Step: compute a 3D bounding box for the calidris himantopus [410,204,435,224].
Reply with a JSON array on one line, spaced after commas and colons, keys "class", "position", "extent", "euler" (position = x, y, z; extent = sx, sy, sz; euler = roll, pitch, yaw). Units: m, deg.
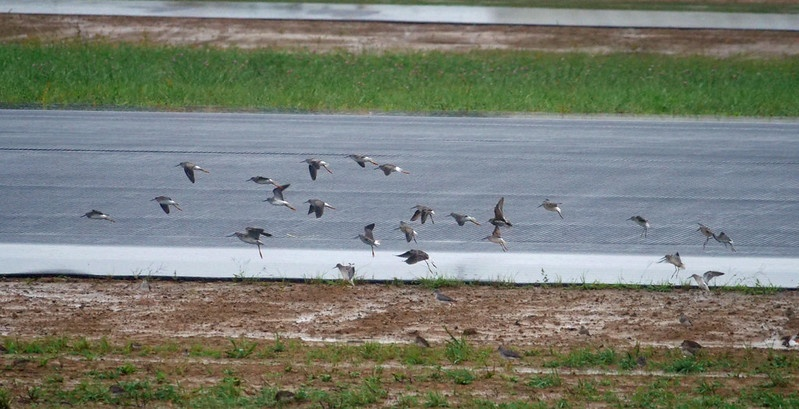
[{"class": "calidris himantopus", "position": [0.882, 0.406, 49.236], "extent": [0.826, 0.313, 0.704], "euler": [-16, 6, -8]}]

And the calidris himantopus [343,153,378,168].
[{"class": "calidris himantopus", "position": [-1.305, -1.580, 51.700], "extent": [0.928, 0.279, 0.643], "euler": [-3, -4, 4]}]

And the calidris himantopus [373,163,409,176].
[{"class": "calidris himantopus", "position": [-0.393, -1.214, 51.049], "extent": [0.821, 0.243, 0.589], "euler": [-10, -3, 21]}]

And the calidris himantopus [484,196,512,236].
[{"class": "calidris himantopus", "position": [3.477, 0.512, 48.997], "extent": [1.194, 0.627, 1.243], "euler": [3, 54, -10]}]

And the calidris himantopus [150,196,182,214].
[{"class": "calidris himantopus", "position": [-8.013, 0.015, 49.439], "extent": [0.823, 0.281, 0.786], "euler": [-18, 8, 8]}]

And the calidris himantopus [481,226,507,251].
[{"class": "calidris himantopus", "position": [3.320, 1.224, 48.967], "extent": [0.821, 0.379, 0.914], "euler": [-36, 33, -19]}]

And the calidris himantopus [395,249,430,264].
[{"class": "calidris himantopus", "position": [0.514, 1.816, 48.266], "extent": [1.002, 0.619, 0.732], "euler": [-2, 20, 1]}]

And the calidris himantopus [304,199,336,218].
[{"class": "calidris himantopus", "position": [-2.691, 0.212, 48.968], "extent": [0.833, 0.284, 0.830], "euler": [-10, 1, 8]}]

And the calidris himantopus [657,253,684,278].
[{"class": "calidris himantopus", "position": [9.244, 1.983, 48.289], "extent": [0.810, 0.883, 0.869], "euler": [1, 20, 9]}]

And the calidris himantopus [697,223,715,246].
[{"class": "calidris himantopus", "position": [10.618, 1.045, 49.363], "extent": [0.582, 0.768, 1.415], "euler": [1, 19, 10]}]

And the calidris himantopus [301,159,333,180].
[{"class": "calidris himantopus", "position": [-3.028, -1.182, 50.787], "extent": [1.016, 0.345, 0.884], "euler": [-2, 30, 28]}]

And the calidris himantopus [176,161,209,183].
[{"class": "calidris himantopus", "position": [-7.293, -1.179, 50.112], "extent": [1.063, 0.341, 0.992], "euler": [-11, 5, 8]}]

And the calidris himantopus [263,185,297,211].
[{"class": "calidris himantopus", "position": [-4.065, -0.236, 49.926], "extent": [1.129, 0.970, 0.472], "euler": [8, 17, -26]}]

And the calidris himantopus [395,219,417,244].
[{"class": "calidris himantopus", "position": [0.334, 1.054, 48.780], "extent": [0.775, 0.303, 0.881], "euler": [-10, 15, 17]}]

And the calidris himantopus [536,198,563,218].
[{"class": "calidris himantopus", "position": [5.482, 0.141, 50.313], "extent": [0.644, 0.324, 1.313], "euler": [-19, -3, 25]}]

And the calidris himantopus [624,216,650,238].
[{"class": "calidris himantopus", "position": [8.380, 0.751, 49.688], "extent": [0.760, 0.743, 1.028], "euler": [1, 19, 9]}]

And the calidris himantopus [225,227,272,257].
[{"class": "calidris himantopus", "position": [-5.014, 1.078, 48.370], "extent": [1.236, 0.509, 1.508], "euler": [-14, 13, -22]}]

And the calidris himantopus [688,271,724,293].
[{"class": "calidris himantopus", "position": [10.302, 2.588, 47.742], "extent": [0.960, 0.689, 0.808], "euler": [-14, 23, -30]}]
